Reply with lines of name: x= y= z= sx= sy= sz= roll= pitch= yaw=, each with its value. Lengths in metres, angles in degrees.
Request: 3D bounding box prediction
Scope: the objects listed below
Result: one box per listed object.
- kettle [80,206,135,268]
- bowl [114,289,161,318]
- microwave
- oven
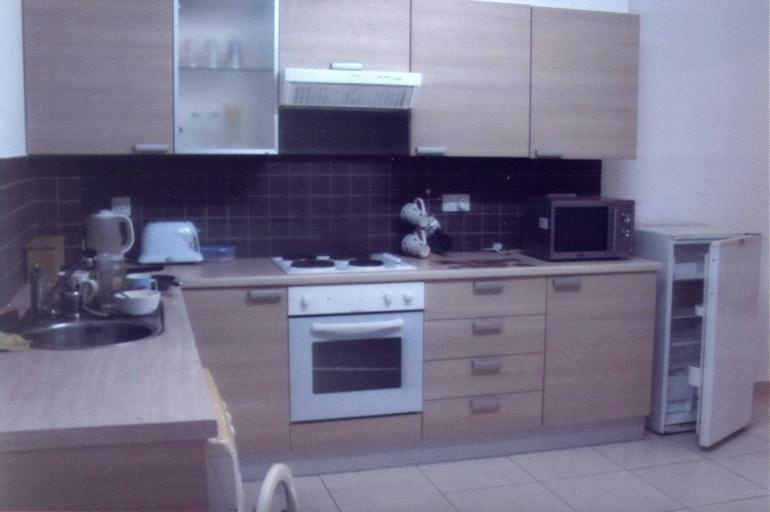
kettle: x=-1.434 y=-0.102 z=3.563 sx=0.296 sy=0.359 sz=0.269 roll=-4 pitch=16 yaw=-41
bowl: x=-1.007 y=0.189 z=2.819 sx=0.136 sy=0.055 sz=0.124 roll=-2 pitch=4 yaw=0
microwave: x=1.093 y=-0.184 z=4.049 sx=0.577 sy=0.366 sz=0.382 roll=0 pitch=10 yaw=-13
oven: x=-0.218 y=0.473 z=3.852 sx=0.789 sy=0.671 sz=0.606 roll=-1 pitch=8 yaw=-18
